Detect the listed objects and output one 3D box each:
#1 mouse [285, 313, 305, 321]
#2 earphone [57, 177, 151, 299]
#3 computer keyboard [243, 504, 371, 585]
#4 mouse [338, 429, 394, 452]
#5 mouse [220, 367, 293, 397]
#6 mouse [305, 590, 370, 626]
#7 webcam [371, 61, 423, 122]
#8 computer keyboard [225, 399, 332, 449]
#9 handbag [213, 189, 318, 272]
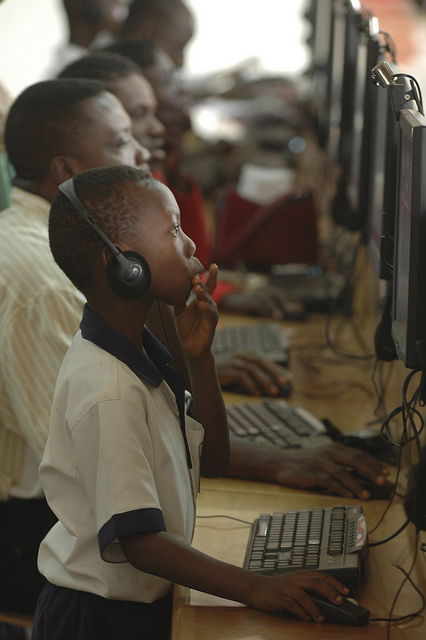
[{"bbox_3d":[0.274,-0.007,2.040,0.022,0.016,0.075,11,-9,-15],"label":"mouse"},{"bbox_3d":[-0.108,-0.098,0.742,0.038,0.125,0.086,-42,4,-24],"label":"earphone"},{"bbox_3d":[0.136,0.324,0.892,0.174,0.047,0.227,-3,1,13],"label":"computer keyboard"},{"bbox_3d":[0.314,0.240,1.252,0.097,0.031,0.086,-1,7,4],"label":"mouse"},{"bbox_3d":[0.109,0.161,1.579,0.132,0.025,0.069,2,31,0],"label":"mouse"},{"bbox_3d":[0.142,0.330,0.715,0.068,0.019,0.035,14,4,20],"label":"mouse"},{"bbox_3d":[0.264,-0.309,0.848,0.069,0.067,0.134,-3,33,3],"label":"webcam"},{"bbox_3d":[0.133,0.235,1.372,0.189,0.038,0.314,-2,9,-14],"label":"computer keyboard"},{"bbox_3d":[0.179,-0.301,2.335,0.423,0.335,0.319,6,7,2],"label":"handbag"}]
